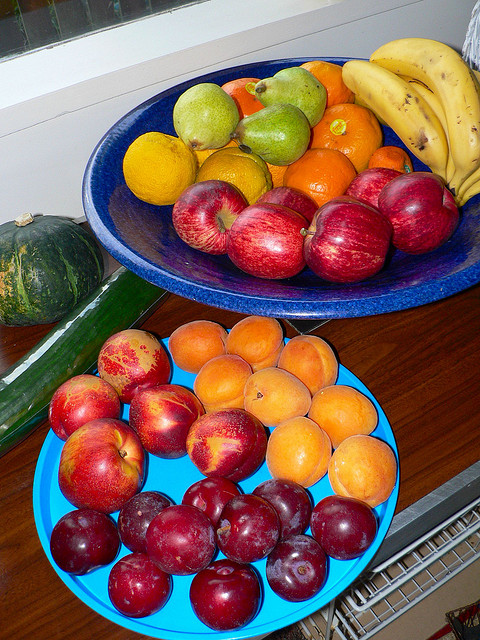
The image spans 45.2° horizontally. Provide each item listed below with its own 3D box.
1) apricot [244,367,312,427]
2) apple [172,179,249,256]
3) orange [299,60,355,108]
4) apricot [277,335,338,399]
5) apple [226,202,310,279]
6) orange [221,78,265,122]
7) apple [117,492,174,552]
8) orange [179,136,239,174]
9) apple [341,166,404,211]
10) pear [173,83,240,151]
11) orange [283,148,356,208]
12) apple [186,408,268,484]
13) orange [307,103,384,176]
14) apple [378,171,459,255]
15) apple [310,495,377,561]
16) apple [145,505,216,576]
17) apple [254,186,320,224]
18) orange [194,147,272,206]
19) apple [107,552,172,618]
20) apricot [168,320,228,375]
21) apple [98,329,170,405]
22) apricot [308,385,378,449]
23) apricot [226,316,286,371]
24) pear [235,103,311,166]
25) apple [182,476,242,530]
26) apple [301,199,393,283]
[{"bbox_3d":[0.037,0.088,0.624,0.056,0.061,0.049,9,65,40],"label":"apricot"},{"bbox_3d":[-0.034,-0.116,0.685,0.082,0.078,0.080,-35,19,2],"label":"apple"},{"bbox_3d":[0.117,-0.323,0.819,0.079,0.066,0.070,3,16,-1],"label":"orange"},{"bbox_3d":[0.079,0.046,0.650,0.069,0.063,0.072,2,7,32],"label":"apricot"},{"bbox_3d":[0.029,-0.083,0.621,0.085,0.072,0.057,3,46,8],"label":"apple"},{"bbox_3d":[0.009,-0.316,0.806,0.075,0.062,0.069,-4,5,-6],"label":"orange"},{"bbox_3d":[-0.094,0.184,0.550,0.058,0.054,0.058,2,86,2],"label":"apple"},{"bbox_3d":[-0.042,-0.218,0.756,0.051,0.046,0.055,-2,40,10],"label":"orange"},{"bbox_3d":[0.167,-0.153,0.682,0.063,0.057,0.062,8,87,24],"label":"apple"},{"bbox_3d":[-0.041,-0.246,0.749,0.087,0.081,0.081,-2,0,-43],"label":"pear"},{"bbox_3d":[0.103,-0.173,0.745,0.093,0.078,0.084,-2,11,5],"label":"orange"},{"bbox_3d":[-0.013,0.129,0.592,0.078,0.065,0.055,-5,46,0],"label":"apple"},{"bbox_3d":[0.143,-0.244,0.804,0.117,0.107,0.100,-4,81,7],"label":"orange"},{"bbox_3d":[0.195,-0.109,0.638,0.085,0.100,0.064,-3,46,3],"label":"apple"},{"bbox_3d":[0.096,0.194,0.536,0.045,0.045,0.043,-22,75,-38],"label":"apple"},{"bbox_3d":[-0.051,0.193,0.506,0.065,0.068,0.058,10,50,2],"label":"apple"},{"bbox_3d":[0.054,-0.126,0.636,0.041,0.039,0.046,30,73,9],"label":"apple"},{"bbox_3d":[0.004,-0.172,0.759,0.092,0.081,0.080,10,53,16],"label":"orange"},{"bbox_3d":[-0.087,0.231,0.528,0.061,0.055,0.048,-3,83,14],"label":"apple"},{"bbox_3d":[-0.050,0.029,0.732,0.080,0.062,0.060,-11,33,15],"label":"apricot"},{"bbox_3d":[-0.121,0.056,0.654,0.060,0.060,0.057,45,23,-1],"label":"apple"},{"bbox_3d":[0.109,0.095,0.613,0.078,0.053,0.057,1,24,-24],"label":"apricot"},{"bbox_3d":[0.018,0.022,0.674,0.070,0.062,0.066,-3,5,36],"label":"apricot"},{"bbox_3d":[0.040,-0.222,0.711,0.090,0.060,0.061,1,55,2],"label":"pear"},{"bbox_3d":[-0.027,0.169,0.554,0.044,0.039,0.044,0,6,38],"label":"apple"},{"bbox_3d":[0.107,-0.077,0.627,0.106,0.087,0.077,8,86,4],"label":"apple"}]
